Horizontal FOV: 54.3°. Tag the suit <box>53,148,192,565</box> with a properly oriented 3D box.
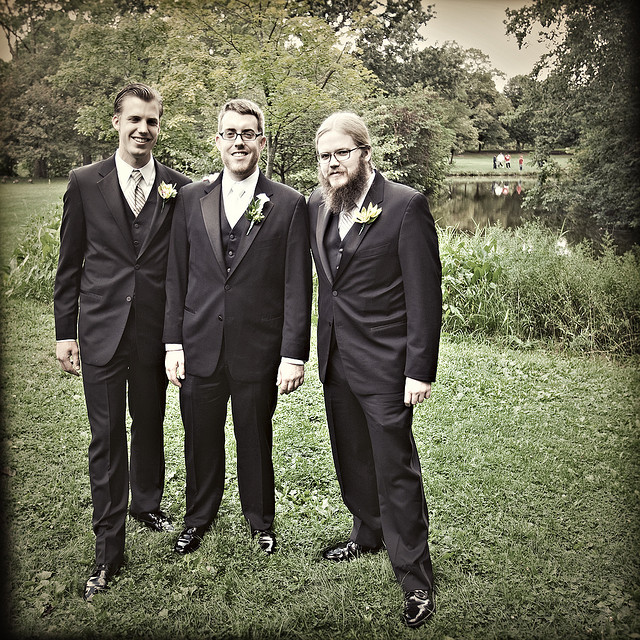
[{"bbox_3d":[-1.242,0.207,3.883,0.501,2.404,0.634,7,9,39],"label":"suit"}]

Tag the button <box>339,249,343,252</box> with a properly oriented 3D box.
[{"bbox_3d":[0.117,-0.383,3.494,0.020,0.023,0.005,0,6,31],"label":"button"}]

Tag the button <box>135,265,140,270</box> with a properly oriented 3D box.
[{"bbox_3d":[-1.113,-0.314,3.769,0.023,0.026,0.006,1,-3,-9],"label":"button"}]

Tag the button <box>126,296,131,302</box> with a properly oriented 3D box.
[{"bbox_3d":[-1.161,-0.124,3.757,0.027,0.030,0.007,-23,-5,10],"label":"button"}]

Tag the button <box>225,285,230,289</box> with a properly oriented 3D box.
[{"bbox_3d":[-0.554,-0.188,3.700,0.026,0.026,0.005,1,7,4],"label":"button"}]

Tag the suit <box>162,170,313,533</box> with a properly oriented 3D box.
[{"bbox_3d":[-0.538,0.228,3.922,0.856,2.272,0.493,2,7,3],"label":"suit"}]

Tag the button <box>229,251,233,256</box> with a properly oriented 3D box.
[{"bbox_3d":[-0.534,-0.387,3.710,0.024,0.027,0.008,0,1,-5],"label":"button"}]

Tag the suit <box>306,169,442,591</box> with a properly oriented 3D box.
[{"bbox_3d":[0.328,0.339,3.566,0.748,2.288,0.322,4,8,21],"label":"suit"}]

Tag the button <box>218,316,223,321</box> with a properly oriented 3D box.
[{"bbox_3d":[-0.601,-0.001,3.733,0.012,0.026,0.013,-9,-3,-8],"label":"button"}]

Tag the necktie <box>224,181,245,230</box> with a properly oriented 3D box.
[{"bbox_3d":[-0.517,-0.678,3.737,0.116,0.263,0.054,-1,8,-12],"label":"necktie"}]

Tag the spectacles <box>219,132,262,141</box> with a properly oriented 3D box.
[{"bbox_3d":[-0.470,-1.047,3.595,0.221,0.048,0.060,0,8,-7],"label":"spectacles"}]

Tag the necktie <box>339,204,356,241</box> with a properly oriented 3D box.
[{"bbox_3d":[0.145,-0.536,3.514,0.037,0.168,0.112,16,8,32],"label":"necktie"}]

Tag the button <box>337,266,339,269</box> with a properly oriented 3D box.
[{"bbox_3d":[0.099,-0.288,3.487,0.003,0.013,0.013,29,13,-28],"label":"button"}]
